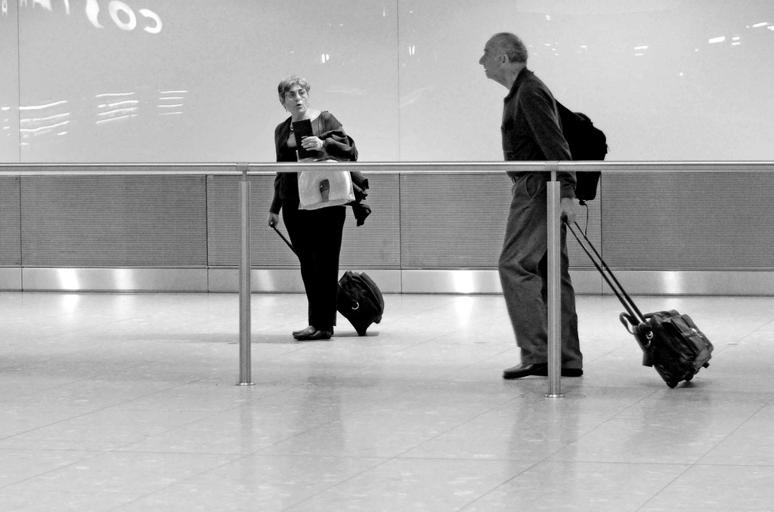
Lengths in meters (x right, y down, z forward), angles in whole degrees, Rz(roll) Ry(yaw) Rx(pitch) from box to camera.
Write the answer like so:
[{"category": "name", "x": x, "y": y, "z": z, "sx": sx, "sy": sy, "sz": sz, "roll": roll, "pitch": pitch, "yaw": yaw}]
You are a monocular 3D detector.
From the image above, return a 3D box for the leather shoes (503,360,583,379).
[{"category": "leather shoes", "x": 0.893, "y": 0.661, "z": 4.274, "sx": 0.449, "sy": 0.142, "sz": 0.153, "roll": 2, "pitch": -3, "yaw": 2}]

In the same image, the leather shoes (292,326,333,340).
[{"category": "leather shoes", "x": -0.556, "y": 0.589, "z": 5.657, "sx": 0.213, "sy": 0.075, "sz": 0.128, "roll": 4, "pitch": -4, "yaw": -13}]

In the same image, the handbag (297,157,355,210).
[{"category": "handbag", "x": -0.434, "y": -0.533, "z": 5.277, "sx": 0.430, "sy": 0.223, "sz": 0.389, "roll": -13, "pitch": -33, "yaw": -11}]

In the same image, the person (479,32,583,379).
[{"category": "person", "x": 0.870, "y": -0.286, "z": 4.166, "sx": 0.541, "sy": 1.991, "sz": 0.710, "roll": -1, "pitch": 6, "yaw": 0}]

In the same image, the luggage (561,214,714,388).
[{"category": "luggage", "x": 1.420, "y": 0.246, "z": 4.187, "sx": 0.496, "sy": 0.910, "sz": 0.418, "roll": -26, "pitch": -13, "yaw": 36}]

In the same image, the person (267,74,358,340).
[{"category": "person", "x": -0.552, "y": -0.352, "z": 5.594, "sx": 0.643, "sy": 1.969, "sz": 0.755, "roll": -2, "pitch": 6, "yaw": -9}]
